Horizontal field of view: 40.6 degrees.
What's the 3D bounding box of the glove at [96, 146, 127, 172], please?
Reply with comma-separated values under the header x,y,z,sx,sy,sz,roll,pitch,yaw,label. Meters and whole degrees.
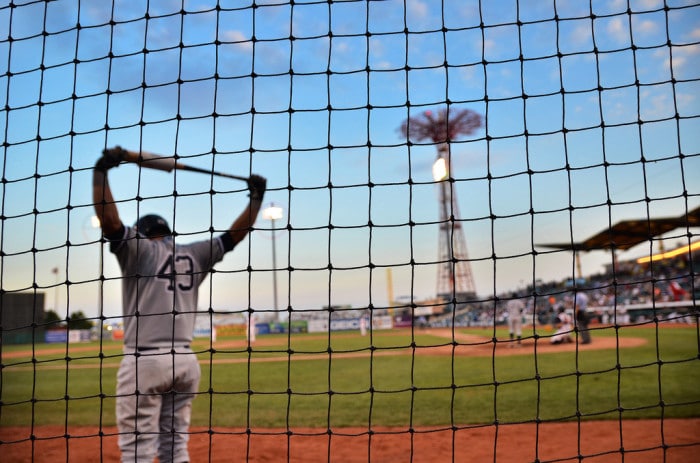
x,y,z,sx,sy,sz,roll,pitch,yaw,label
-4.978,-1.511,19.613,0.702,0.550,0.238,-4,-15,-4,glove
